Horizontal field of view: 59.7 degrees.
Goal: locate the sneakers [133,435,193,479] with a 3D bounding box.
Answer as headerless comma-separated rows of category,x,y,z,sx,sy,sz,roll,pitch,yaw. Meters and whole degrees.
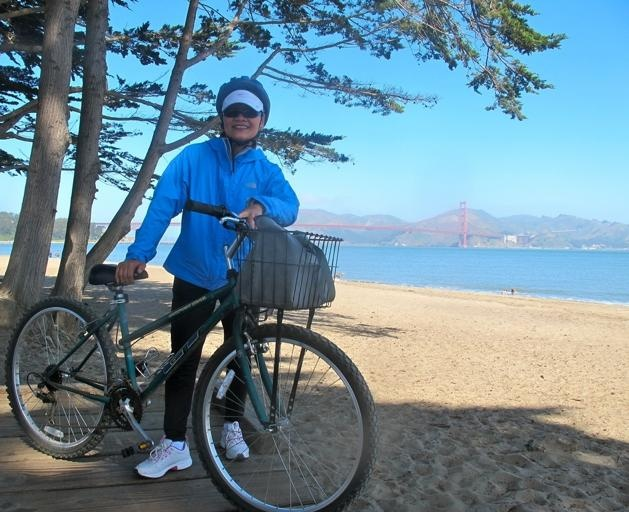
sneakers,-0.872,1.206,3.290,0.379,0.169,0.149,3,0,-42

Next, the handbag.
handbag,-0.095,0.029,3.037,0.582,0.418,0.529,-1,1,23
